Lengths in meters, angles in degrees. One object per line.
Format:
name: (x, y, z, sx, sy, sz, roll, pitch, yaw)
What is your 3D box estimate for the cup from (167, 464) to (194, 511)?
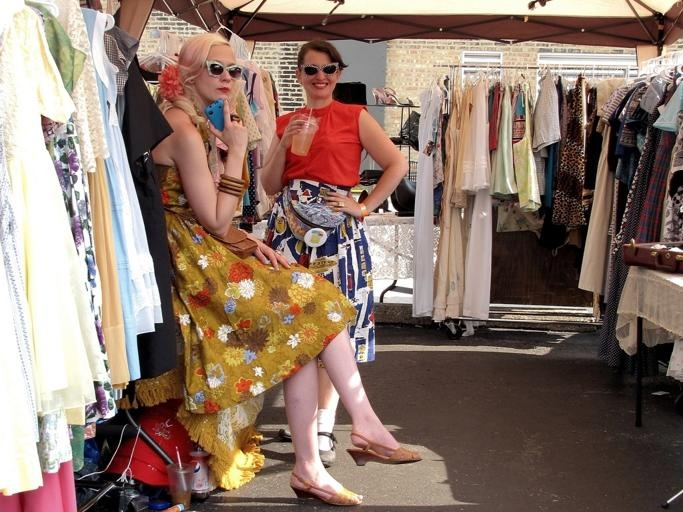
cup: (-0.700, 1.013, 2.455, 0.097, 0.205, 0.098, 1, 6, 0)

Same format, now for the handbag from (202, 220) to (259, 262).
handbag: (-0.481, -0.075, 2.556, 0.170, 0.061, 0.138, 37, 25, 8)

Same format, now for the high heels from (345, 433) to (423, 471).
high heels: (0.190, 0.881, 2.550, 0.343, 0.143, 0.140, 0, -14, -4)

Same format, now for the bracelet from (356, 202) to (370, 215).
bracelet: (0.115, -0.257, 3.013, 0.042, 0.029, 0.065, -2, 50, -17)

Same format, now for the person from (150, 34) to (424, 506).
person: (-0.352, 0.072, 2.557, 0.967, 2.131, 0.347, 1, 6, -2)

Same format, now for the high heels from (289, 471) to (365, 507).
high heels: (-0.077, 1.063, 2.592, 0.355, 0.152, 0.135, -2, -2, 8)

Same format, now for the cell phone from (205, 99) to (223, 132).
cell phone: (-0.543, -0.605, 2.409, 0.096, 0.134, 0.038, 4, 7, 27)

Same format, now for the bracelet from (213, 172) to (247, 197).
bracelet: (-0.482, -0.308, 2.485, 0.096, 0.062, 0.099, 17, 3, 16)

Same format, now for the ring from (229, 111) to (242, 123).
ring: (-0.481, -0.619, 2.517, 0.071, 0.023, 0.073, 15, 42, -14)
